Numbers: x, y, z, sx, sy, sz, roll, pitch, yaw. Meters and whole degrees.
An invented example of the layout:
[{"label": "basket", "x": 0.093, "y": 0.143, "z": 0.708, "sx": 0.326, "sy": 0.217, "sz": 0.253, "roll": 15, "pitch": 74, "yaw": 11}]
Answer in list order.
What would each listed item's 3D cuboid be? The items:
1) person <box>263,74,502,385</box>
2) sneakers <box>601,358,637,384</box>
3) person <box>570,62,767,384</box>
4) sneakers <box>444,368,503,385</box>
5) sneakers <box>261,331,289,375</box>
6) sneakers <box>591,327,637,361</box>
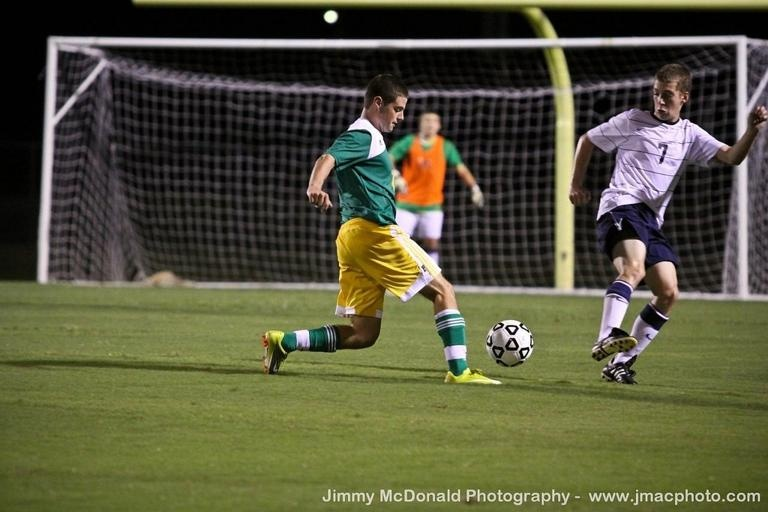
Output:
[{"label": "person", "x": -0.074, "y": -0.033, "z": 6.637, "sx": 1.516, "sy": 1.796, "sz": 0.416, "roll": 2, "pitch": 10, "yaw": -1}, {"label": "sneakers", "x": 1.704, "y": 0.846, "z": 6.890, "sx": 0.302, "sy": 0.204, "sz": 0.122, "roll": 6, "pitch": -7, "yaw": 28}, {"label": "person", "x": 2.003, "y": -0.255, "z": 6.989, "sx": 1.200, "sy": 2.322, "sz": 1.010, "roll": -1, "pitch": 11, "yaw": -15}, {"label": "sneakers", "x": 0.642, "y": 0.848, "z": 6.668, "sx": 0.400, "sy": 0.114, "sz": 0.140, "roll": -1, "pitch": -5, "yaw": 3}, {"label": "sneakers", "x": -0.774, "y": 0.700, "z": 6.744, "sx": 0.266, "sy": 0.309, "sz": 0.176, "roll": 6, "pitch": 12, "yaw": 7}, {"label": "sneakers", "x": 1.683, "y": 0.632, "z": 6.644, "sx": 0.371, "sy": 0.154, "sz": 0.198, "roll": -30, "pitch": 24, "yaw": 38}]
